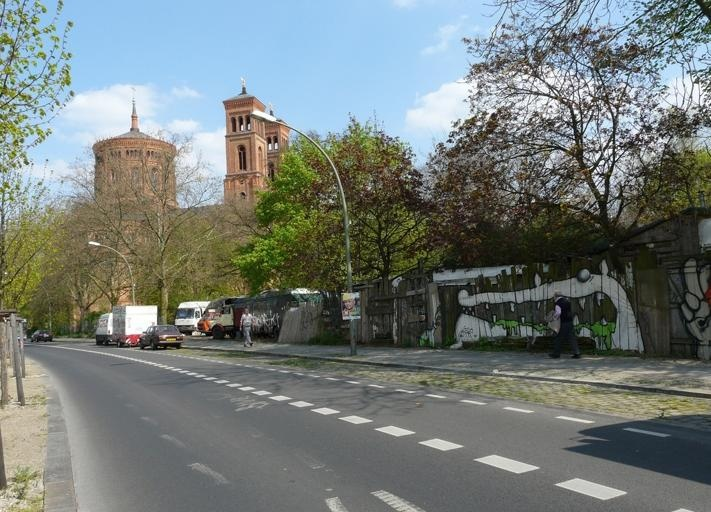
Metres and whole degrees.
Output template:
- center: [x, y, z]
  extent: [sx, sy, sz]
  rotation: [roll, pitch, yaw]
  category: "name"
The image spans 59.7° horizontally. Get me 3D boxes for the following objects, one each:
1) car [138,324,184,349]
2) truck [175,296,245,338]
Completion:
- center: [-11.451, 4.670, 35.913]
  extent: [1.298, 0.941, 2.860]
  rotation: [2, -3, -25]
  category: "car"
- center: [-10.943, 5.244, 51.896]
  extent: [5.400, 2.869, 4.569]
  rotation: [6, -10, -35]
  category: "truck"
